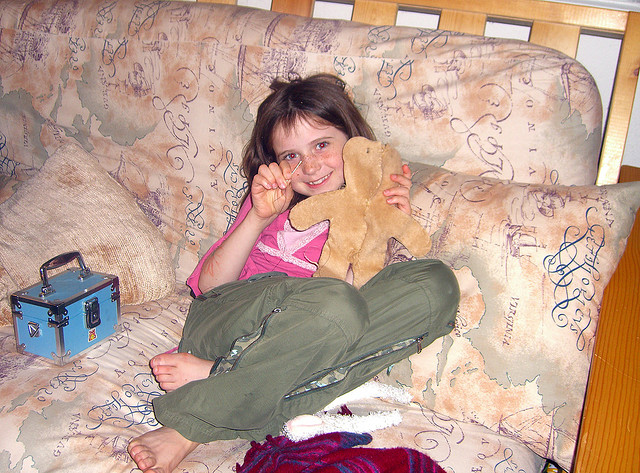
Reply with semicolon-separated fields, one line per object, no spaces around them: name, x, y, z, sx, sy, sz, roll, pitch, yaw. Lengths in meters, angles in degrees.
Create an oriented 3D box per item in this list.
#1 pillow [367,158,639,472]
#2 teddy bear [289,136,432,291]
pillow;0.445;0.163;1.345;0.557;0.716;0.219;14;12;20
teddy bear;0.114;-0.065;1.469;0.378;0.419;0.116;11;6;19
